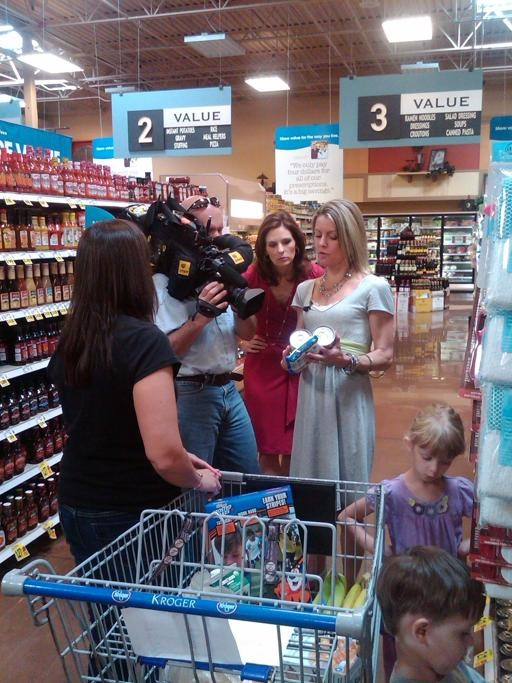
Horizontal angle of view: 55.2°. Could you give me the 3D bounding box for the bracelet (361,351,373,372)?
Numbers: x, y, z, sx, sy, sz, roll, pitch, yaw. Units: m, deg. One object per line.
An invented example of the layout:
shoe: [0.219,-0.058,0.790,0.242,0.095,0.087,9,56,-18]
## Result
bracelet: [0.455,0.092,1.995,0.033,0.062,0.046,-10,11,-29]

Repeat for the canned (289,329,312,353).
canned: [0.171,0.006,1.936,0.088,0.086,0.107,-2,11,5]

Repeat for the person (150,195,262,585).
person: [-0.174,0.243,1.994,0.426,1.202,0.378,-4,17,1]

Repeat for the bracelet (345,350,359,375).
bracelet: [0.378,0.095,1.977,0.044,0.073,0.064,5,10,-10]

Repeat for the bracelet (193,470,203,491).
bracelet: [-0.142,0.347,1.212,0.015,0.050,0.038,2,11,-5]
